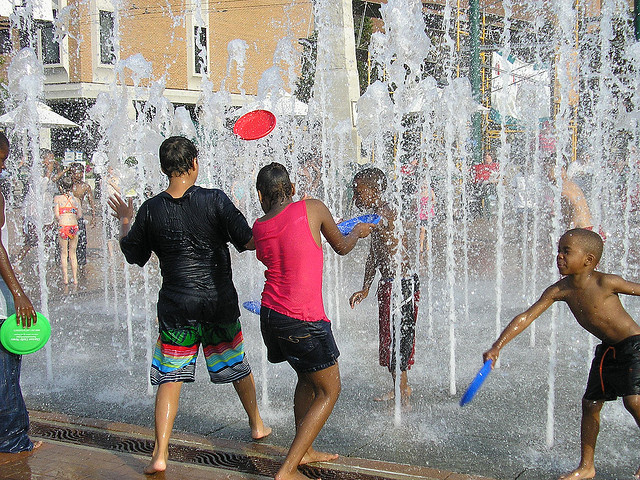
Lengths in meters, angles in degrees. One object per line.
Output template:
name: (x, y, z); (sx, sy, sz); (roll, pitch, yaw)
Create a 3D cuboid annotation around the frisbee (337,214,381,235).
frisbee: (0.312, -0.129, 6.917); (0.264, 0.140, 0.640); (5, 7, 28)

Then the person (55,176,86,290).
person: (-4.035, -0.158, 13.008); (0.426, 1.716, 0.776); (-1, 7, -16)

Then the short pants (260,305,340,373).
short pants: (-0.145, 0.722, 6.685); (0.732, 0.596, 0.508); (3, 10, 45)

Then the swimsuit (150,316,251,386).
swimsuit: (-1.046, 0.983, 7.044); (0.826, 0.763, 0.303); (-1, 10, -14)

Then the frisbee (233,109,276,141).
frisbee: (-0.639, -1.090, 7.666); (0.349, 0.281, 0.468); (-5, 9, -43)

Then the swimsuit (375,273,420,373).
swimsuit: (0.756, 0.810, 7.906); (0.392, 0.950, 0.249); (1, 7, 3)

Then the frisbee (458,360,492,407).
frisbee: (1.217, 1.117, 6.274); (0.206, 0.372, 0.261); (6, 8, 38)

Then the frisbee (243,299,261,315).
frisbee: (-0.580, 0.573, 6.904); (0.179, 0.108, 0.029); (3, 9, 39)
